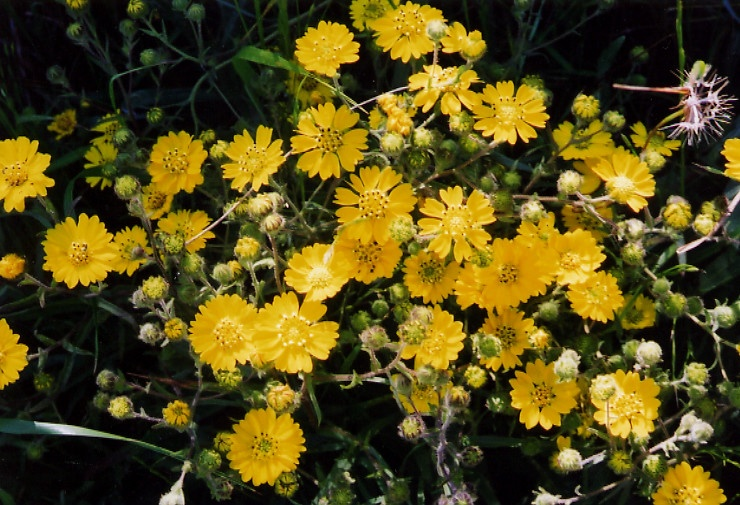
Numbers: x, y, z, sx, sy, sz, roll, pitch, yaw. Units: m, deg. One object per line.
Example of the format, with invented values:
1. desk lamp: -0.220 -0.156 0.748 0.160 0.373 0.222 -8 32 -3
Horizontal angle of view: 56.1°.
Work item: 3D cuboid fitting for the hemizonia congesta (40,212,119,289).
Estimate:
1. hemizonia congesta: -1.008 -0.003 2.424 0.241 0.099 0.236 -10 82 0
